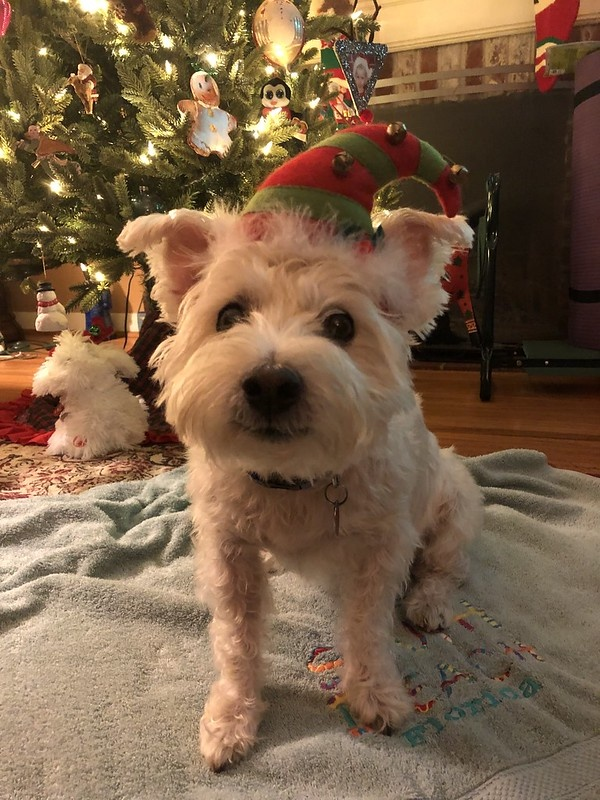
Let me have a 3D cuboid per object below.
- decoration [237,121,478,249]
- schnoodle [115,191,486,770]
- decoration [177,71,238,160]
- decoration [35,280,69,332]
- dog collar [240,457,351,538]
[{"bbox_3d":[0.085,-0.351,1.078,0.322,0.179,0.216,21,4,-10],"label":"decoration"},{"bbox_3d":[0.073,0.091,1.120,0.634,0.820,0.456,-8,17,-22],"label":"schnoodle"},{"bbox_3d":[-0.287,-0.861,2.007,0.150,0.220,0.213,1,15,8],"label":"decoration"},{"bbox_3d":[-1.077,-0.399,2.845,0.151,0.213,0.149,-7,2,-14],"label":"decoration"},{"bbox_3d":[0.000,0.170,1.031,0.156,0.123,0.052,-2,16,-4],"label":"dog collar"}]
